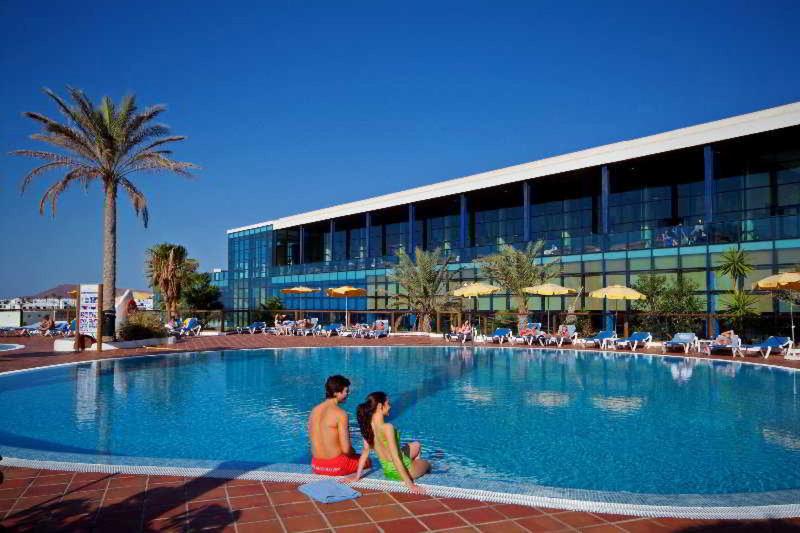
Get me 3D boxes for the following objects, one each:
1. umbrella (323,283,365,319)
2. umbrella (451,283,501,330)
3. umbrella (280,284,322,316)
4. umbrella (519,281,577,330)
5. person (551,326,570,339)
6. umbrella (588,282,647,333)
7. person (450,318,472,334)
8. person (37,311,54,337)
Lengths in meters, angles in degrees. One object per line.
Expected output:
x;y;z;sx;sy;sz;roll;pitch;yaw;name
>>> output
-3.433;1.665;34.250;2.390;1.991;2.234;-2;13;-14;umbrella
3.951;1.605;28.674;1.489;1.245;1.438;-3;7;-30;umbrella
-6.324;2.405;35.650;2.655;2.188;2.536;0;6;-15;umbrella
7.212;2.102;27.986;2.706;2.698;2.787;2;4;33;umbrella
7.775;3.099;26.875;0.519;0.276;0.732;-1;5;31;person
9.872;1.963;25.826;2.246;2.300;2.275;2;1;40;umbrella
3.149;3.224;29.427;0.602;0.594;1.090;3;-6;-36;person
-21.260;3.414;33.585;1.015;1.374;1.067;1;-6;-18;person
